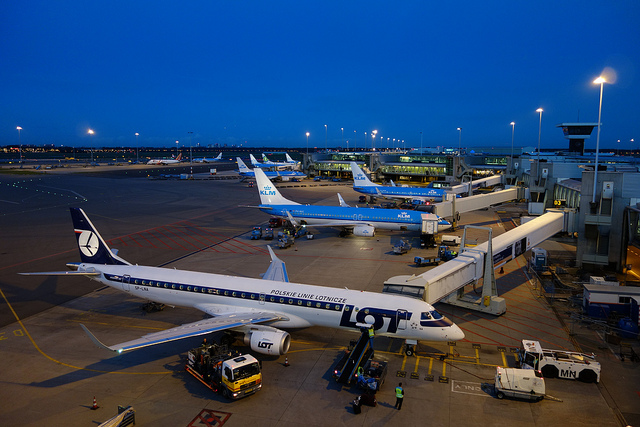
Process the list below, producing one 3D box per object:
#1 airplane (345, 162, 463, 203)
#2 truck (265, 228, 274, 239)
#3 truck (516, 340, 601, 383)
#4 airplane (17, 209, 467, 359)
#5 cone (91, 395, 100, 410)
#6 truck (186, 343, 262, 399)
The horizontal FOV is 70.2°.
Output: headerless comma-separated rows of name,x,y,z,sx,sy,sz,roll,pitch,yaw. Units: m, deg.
airplane,25.963,-9.349,134.889,23.372,6.442,19.196,4,9,33
truck,-8.458,3.616,79.279,1.536,0.821,1.887,1,5,-2
truck,21.816,13.592,41.318,5.989,1.781,3.658,2,1,11
airplane,-6.813,8.552,45.498,30.454,6.304,22.098,4,12,18
cone,-18.516,15.968,38.055,0.701,0.964,0.622,5,11,18
truck,-8.628,13.737,41.297,4.305,2.521,8.786,-8,8,-39
